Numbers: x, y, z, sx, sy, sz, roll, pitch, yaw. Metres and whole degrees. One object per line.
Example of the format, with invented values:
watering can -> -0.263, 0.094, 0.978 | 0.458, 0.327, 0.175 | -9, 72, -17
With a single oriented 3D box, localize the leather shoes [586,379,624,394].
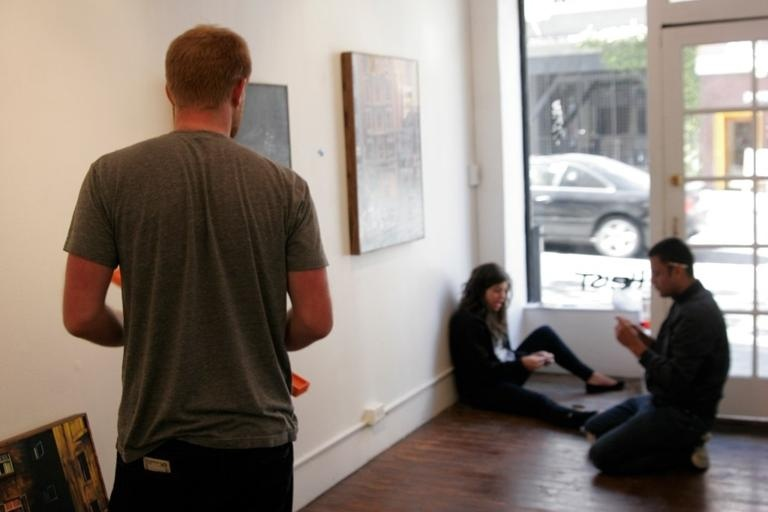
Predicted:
leather shoes -> 1.698, 1.011, 4.756 | 0.305, 0.103, 0.100 | -4, 3, 1
